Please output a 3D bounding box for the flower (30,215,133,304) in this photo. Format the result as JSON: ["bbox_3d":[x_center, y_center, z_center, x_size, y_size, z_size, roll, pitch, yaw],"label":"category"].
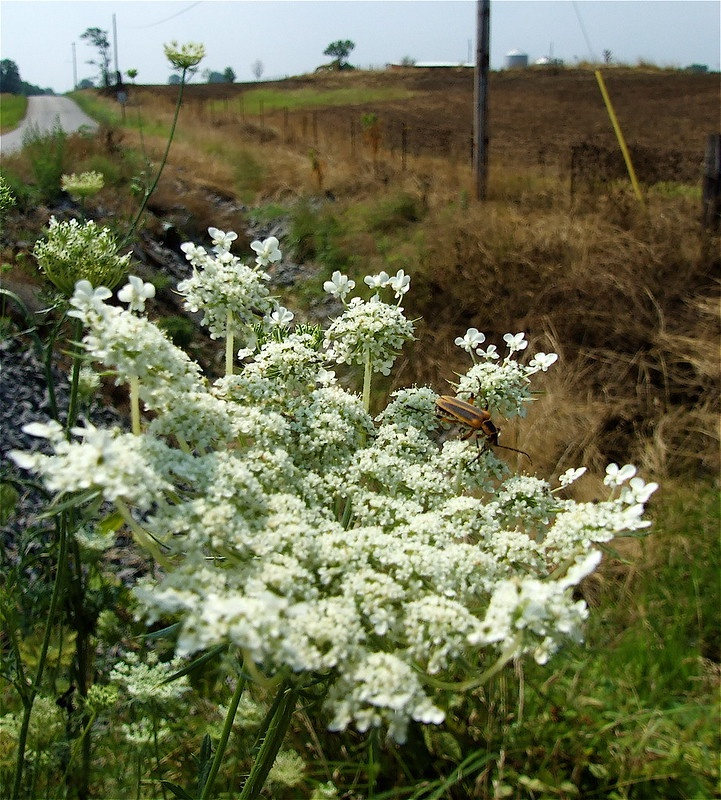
[{"bbox_3d":[-1.176,-0.556,3.038,0.302,0.324,0.317,18,21,37],"label":"flower"}]

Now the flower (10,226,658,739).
[{"bbox_3d":[-0.278,0.361,2.960,2.119,0.944,2.206,19,34,-21],"label":"flower"}]
